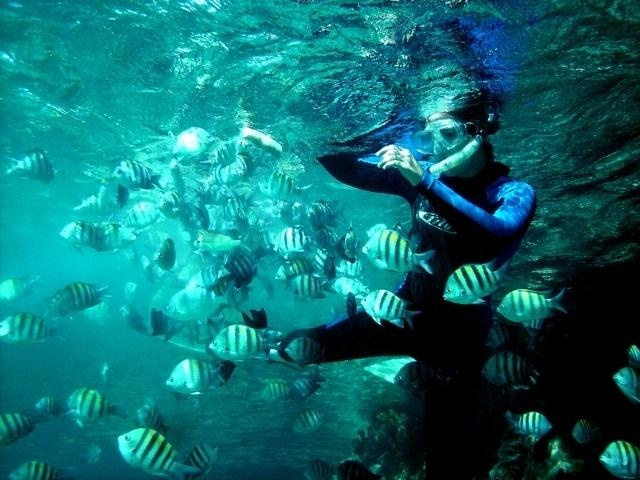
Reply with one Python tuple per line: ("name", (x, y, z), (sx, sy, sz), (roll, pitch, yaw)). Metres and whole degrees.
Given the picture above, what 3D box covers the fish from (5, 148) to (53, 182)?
("fish", (-8.266, -2.140, 18.000), (0.947, 0.760, 0.289), (-7, 4, -22))
